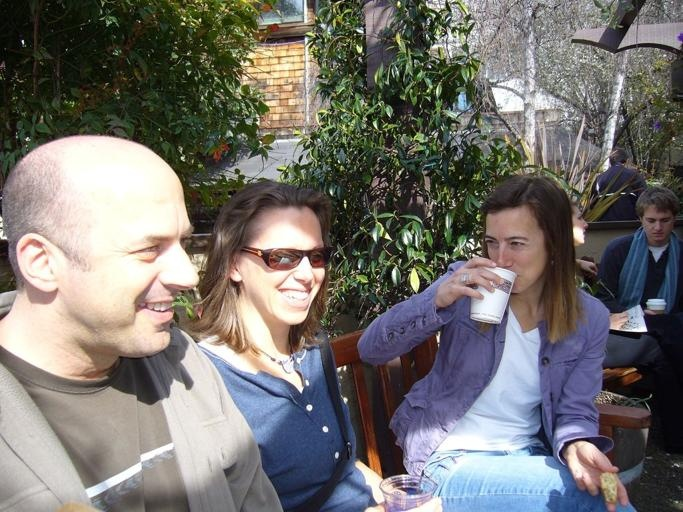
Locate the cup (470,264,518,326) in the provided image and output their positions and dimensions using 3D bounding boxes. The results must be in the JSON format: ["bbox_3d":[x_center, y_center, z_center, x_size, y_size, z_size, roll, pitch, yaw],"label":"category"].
[{"bbox_3d":[0.682,0.189,2.633,0.215,0.236,0.226,24,-10,5],"label":"cup"}]

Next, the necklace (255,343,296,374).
[{"bbox_3d":[-0.283,0.451,2.446,0.142,0.076,0.111,32,9,11],"label":"necklace"}]

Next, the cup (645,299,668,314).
[{"bbox_3d":[2.531,0.401,4.554,0.138,0.125,0.146,-4,7,0],"label":"cup"}]

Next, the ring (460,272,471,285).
[{"bbox_3d":[0.572,0.103,2.581,0.020,0.055,0.066,-3,9,-26],"label":"ring"}]
